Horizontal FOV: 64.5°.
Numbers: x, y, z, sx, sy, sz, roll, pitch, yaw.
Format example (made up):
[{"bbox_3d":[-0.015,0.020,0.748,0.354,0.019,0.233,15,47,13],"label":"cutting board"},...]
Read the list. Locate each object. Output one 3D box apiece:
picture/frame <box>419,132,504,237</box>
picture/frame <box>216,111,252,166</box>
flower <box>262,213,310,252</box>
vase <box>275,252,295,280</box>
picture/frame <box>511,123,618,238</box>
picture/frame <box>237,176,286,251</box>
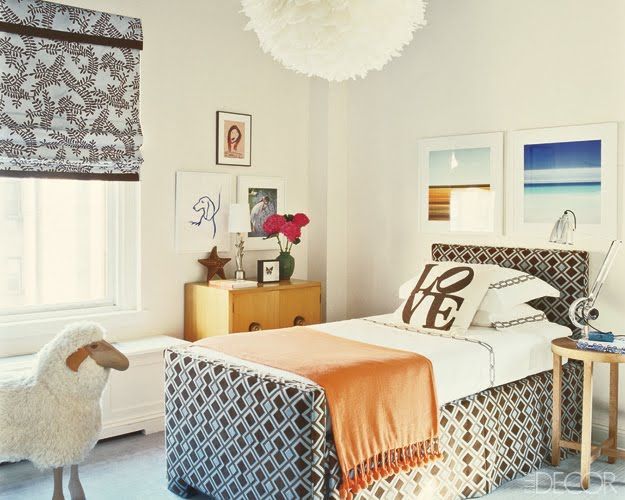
[{"bbox_3d":[1.216,-0.535,3.961,0.049,0.958,0.844,3,-4,-44],"label":"picture/frame"},{"bbox_3d":[-0.686,-0.963,4.317,0.350,0.440,0.021,-6,13,-42],"label":"picture/frame"},{"bbox_3d":[-0.254,-0.156,4.455,0.432,0.456,0.412,3,7,-15],"label":"flower"},{"bbox_3d":[-0.237,0.139,4.380,0.198,0.271,0.204,1,-6,-2],"label":"vase"},{"bbox_3d":[1.801,-0.499,3.481,0.811,0.891,0.038,1,1,42],"label":"picture/frame"},{"bbox_3d":[-0.479,-0.342,4.426,0.618,0.843,0.065,-6,9,-43],"label":"picture/frame"}]
